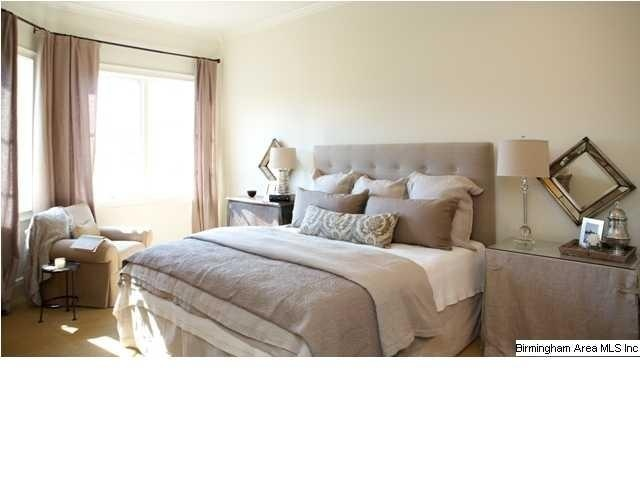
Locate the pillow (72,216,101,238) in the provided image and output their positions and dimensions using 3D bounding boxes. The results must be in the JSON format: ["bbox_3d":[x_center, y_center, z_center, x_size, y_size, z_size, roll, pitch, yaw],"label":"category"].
[{"bbox_3d":[-2.431,-0.140,4.787,0.066,0.228,0.233,-18,-7,28],"label":"pillow"}]

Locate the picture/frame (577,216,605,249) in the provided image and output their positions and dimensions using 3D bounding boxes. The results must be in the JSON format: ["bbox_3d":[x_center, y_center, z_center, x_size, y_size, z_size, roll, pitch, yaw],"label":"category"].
[{"bbox_3d":[1.962,-0.051,3.352,0.021,0.314,0.208,5,3,-39],"label":"picture/frame"}]

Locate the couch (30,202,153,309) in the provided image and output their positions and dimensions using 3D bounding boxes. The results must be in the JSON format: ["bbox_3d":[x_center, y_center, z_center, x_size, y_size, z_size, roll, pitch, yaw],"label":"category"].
[{"bbox_3d":[-2.290,0.098,4.820,0.765,0.836,0.941,3,12,1],"label":"couch"}]

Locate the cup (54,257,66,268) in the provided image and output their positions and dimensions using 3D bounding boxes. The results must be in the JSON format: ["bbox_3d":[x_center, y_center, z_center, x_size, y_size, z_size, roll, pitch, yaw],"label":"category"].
[{"bbox_3d":[-2.323,0.213,4.158,0.097,0.097,0.097,-4,-14,-1],"label":"cup"}]

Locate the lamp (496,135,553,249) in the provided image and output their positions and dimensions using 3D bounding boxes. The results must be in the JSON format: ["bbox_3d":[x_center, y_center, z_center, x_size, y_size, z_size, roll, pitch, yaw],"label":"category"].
[{"bbox_3d":[1.601,-0.389,3.690,0.366,0.822,0.460,7,10,33],"label":"lamp"}]

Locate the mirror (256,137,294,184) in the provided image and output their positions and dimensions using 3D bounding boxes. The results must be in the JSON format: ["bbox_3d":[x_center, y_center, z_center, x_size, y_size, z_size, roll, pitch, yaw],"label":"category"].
[{"bbox_3d":[-0.524,-0.981,5.623,0.552,0.519,0.042,-16,-6,42],"label":"mirror"}]

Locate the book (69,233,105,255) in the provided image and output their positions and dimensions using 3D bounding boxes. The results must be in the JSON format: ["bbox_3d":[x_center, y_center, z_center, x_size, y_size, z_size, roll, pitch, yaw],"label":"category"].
[{"bbox_3d":[-2.209,0.039,4.408,0.320,0.136,0.166,2,9,7],"label":"book"}]

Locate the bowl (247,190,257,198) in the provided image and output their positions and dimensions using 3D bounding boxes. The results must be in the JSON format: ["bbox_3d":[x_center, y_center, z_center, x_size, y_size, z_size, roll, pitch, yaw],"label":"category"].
[{"bbox_3d":[-0.828,-0.562,5.633,0.104,0.074,0.107,-1,-3,0],"label":"bowl"}]
